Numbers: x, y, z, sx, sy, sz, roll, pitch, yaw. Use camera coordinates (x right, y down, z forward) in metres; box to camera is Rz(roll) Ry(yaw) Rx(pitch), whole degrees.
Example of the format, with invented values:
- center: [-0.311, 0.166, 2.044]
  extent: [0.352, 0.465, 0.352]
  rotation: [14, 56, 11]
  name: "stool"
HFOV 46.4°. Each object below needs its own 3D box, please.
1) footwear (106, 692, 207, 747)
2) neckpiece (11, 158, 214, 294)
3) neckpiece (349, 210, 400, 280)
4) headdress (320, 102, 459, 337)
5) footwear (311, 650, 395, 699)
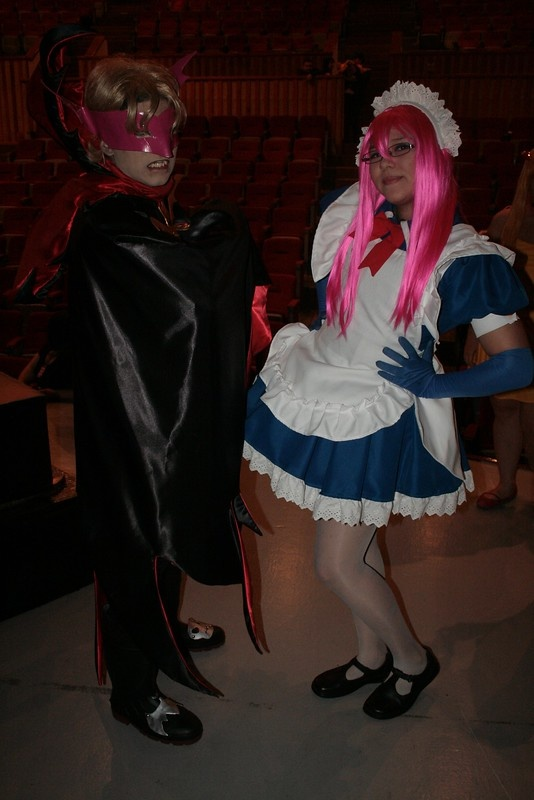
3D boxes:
- center: [-0.262, 0.749, 1.526]
  extent: [0.233, 0.094, 0.111]
  rotation: [8, 23, 13]
  name: "footwear"
- center: [-0.333, -0.348, 1.251]
  extent: [0.335, 0.230, 0.270]
  rotation: [-4, 23, -16]
  name: "neckpiece"
- center: [0.238, -0.323, 1.305]
  extent: [0.019, 0.122, 0.092]
  rotation: [11, 26, -47]
  name: "neckpiece"
- center: [0.279, -0.363, 1.329]
  extent: [0.283, 0.459, 0.158]
  rotation: [6, 4, 24]
  name: "headdress"
- center: [0.215, 0.730, 1.691]
  extent: [0.271, 0.092, 0.086]
  rotation: [-9, 27, -15]
  name: "footwear"
